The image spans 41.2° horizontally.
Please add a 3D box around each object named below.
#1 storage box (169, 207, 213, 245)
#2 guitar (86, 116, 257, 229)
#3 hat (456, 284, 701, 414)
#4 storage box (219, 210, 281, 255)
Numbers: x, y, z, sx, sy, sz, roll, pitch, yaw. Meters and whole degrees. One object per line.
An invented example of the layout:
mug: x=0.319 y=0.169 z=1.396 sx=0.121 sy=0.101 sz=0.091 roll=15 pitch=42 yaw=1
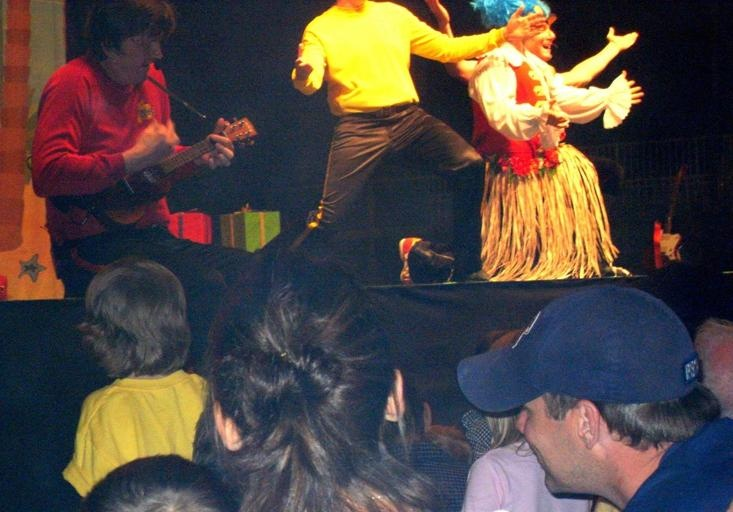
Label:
storage box: x=-0.757 y=-0.090 z=4.087 sx=0.148 sy=0.153 sz=0.246 roll=-27 pitch=2 yaw=-5
guitar: x=-0.788 y=-0.336 z=4.005 sx=0.806 sy=0.269 sz=0.104 roll=-27 pitch=2 yaw=-19
hat: x=0.628 y=0.247 z=2.894 sx=0.734 sy=0.288 sz=0.432 roll=2 pitch=16 yaw=26
storage box: x=-0.548 y=-0.110 z=4.082 sx=0.297 sy=0.127 sz=0.277 roll=1 pitch=6 yaw=19
